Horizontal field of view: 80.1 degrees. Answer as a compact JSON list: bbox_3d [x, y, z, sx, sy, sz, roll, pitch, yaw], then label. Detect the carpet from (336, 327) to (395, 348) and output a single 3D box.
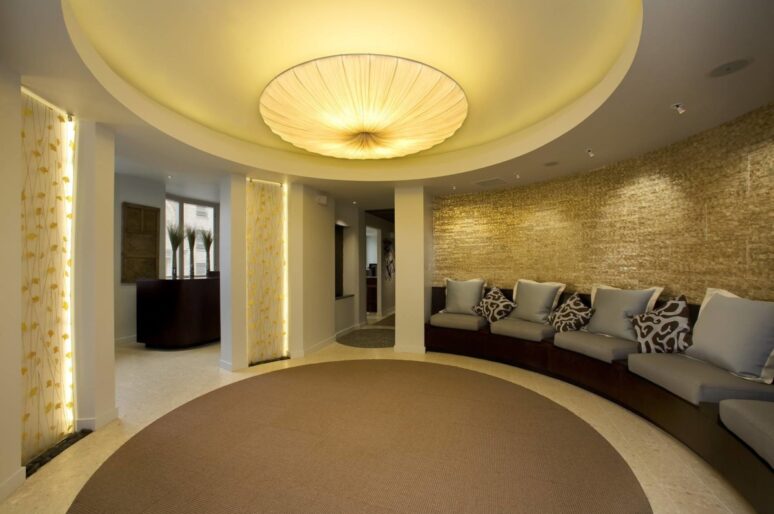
[{"bbox_3d":[-0.396,1.460,8.375,1.027,0.041,1.741,0,3,2],"label":"carpet"}]
